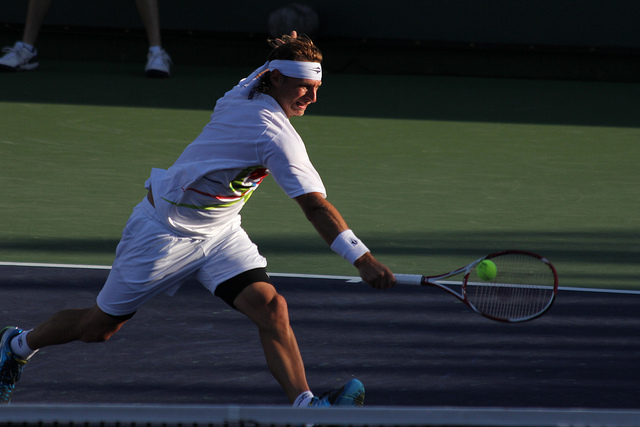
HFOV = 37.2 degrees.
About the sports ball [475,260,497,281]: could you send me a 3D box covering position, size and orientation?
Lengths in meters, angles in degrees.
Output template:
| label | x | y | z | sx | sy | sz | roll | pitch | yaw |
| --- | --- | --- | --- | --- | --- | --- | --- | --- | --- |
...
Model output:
| label | x | y | z | sx | sy | sz | roll | pitch | yaw |
| --- | --- | --- | --- | --- | --- | --- | --- | --- | --- |
| sports ball | 1.349 | 0.457 | 7.726 | 0.260 | 0.174 | 0.199 | -1 | 7 | 1 |
